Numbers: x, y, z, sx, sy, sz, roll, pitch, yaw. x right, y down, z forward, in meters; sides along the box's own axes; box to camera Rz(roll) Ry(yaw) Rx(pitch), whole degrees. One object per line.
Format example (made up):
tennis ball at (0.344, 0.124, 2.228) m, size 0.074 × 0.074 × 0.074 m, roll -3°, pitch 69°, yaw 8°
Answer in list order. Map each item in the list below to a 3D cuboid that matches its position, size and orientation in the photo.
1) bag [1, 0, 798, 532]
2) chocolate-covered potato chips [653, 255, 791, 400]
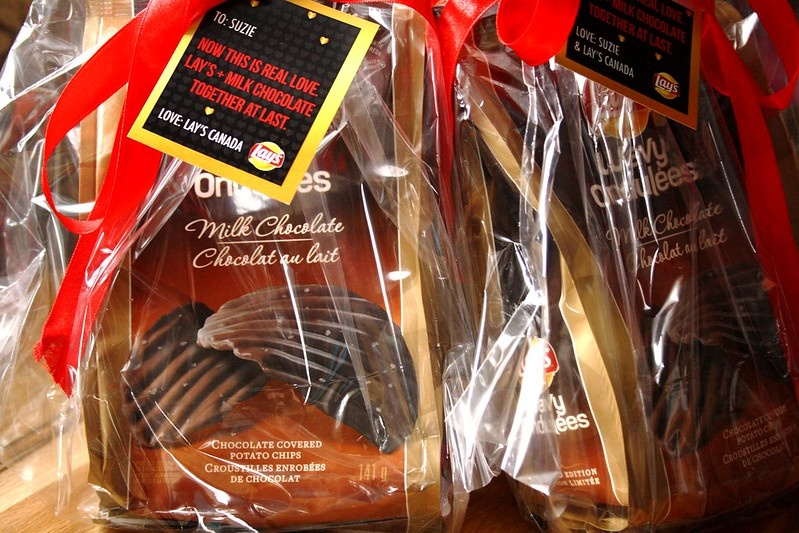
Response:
bag at (0.010, 0.013, 0.655) m, size 0.447 × 0.435 × 0.151 m, roll -1°, pitch 4°, yaw 1°
chocolate-covered potato chips at (0.317, 0.059, 0.660) m, size 0.102 × 0.132 × 0.038 m, roll -3°, pitch -2°, yaw -5°
